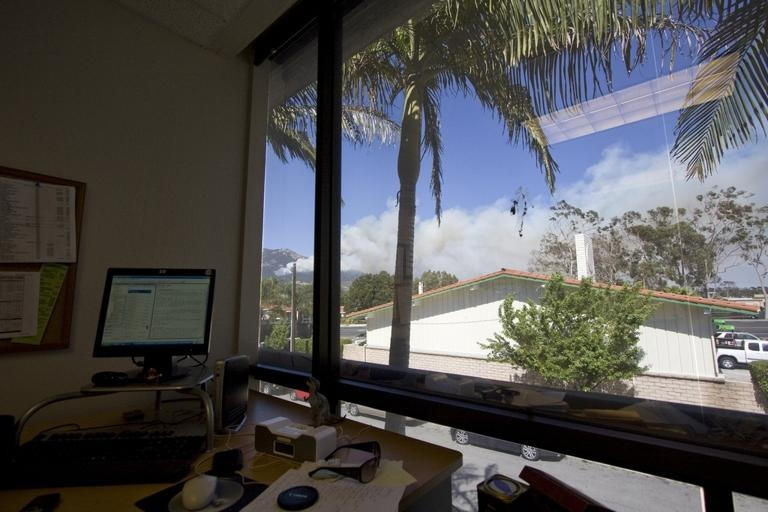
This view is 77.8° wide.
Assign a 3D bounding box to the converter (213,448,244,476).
[{"bbox_3d":[-0.703,0.945,2.162,0.112,0.105,0.114,3,-12,3],"label":"converter"}]

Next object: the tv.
[{"bbox_3d":[-1.221,0.352,2.587,0.565,0.551,0.179,1,-5,-10],"label":"tv"}]
